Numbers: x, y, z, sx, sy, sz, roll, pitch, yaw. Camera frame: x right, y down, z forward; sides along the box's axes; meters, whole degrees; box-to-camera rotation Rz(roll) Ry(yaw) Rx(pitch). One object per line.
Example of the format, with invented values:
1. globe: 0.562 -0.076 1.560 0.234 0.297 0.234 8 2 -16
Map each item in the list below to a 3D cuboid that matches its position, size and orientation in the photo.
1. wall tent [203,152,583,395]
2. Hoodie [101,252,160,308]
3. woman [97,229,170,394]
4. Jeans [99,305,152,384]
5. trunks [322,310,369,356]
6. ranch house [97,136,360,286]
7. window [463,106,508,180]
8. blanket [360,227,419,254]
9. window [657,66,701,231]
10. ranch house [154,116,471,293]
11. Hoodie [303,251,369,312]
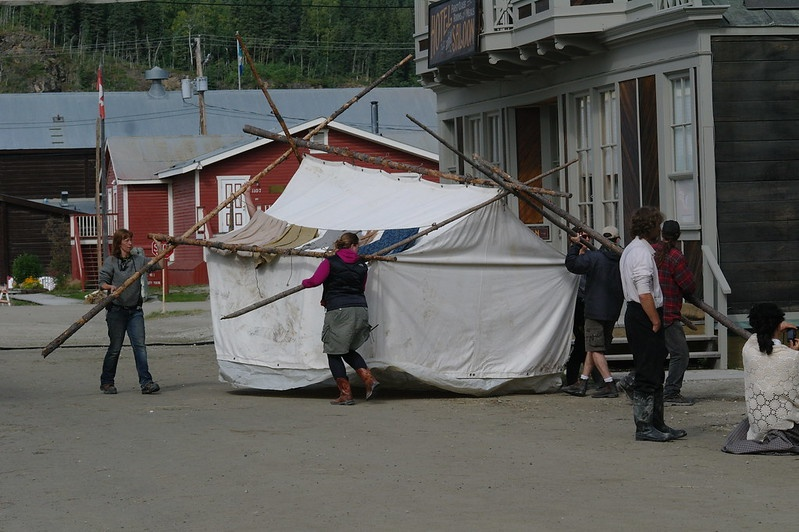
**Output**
1. wall tent: -0.042 0.446 22.668 4.006 2.955 5.053 0 0 -38
2. Hoodie: -4.509 0.210 23.084 1.019 0.898 0.500 -8 5 -22
3. woman: -4.400 0.731 22.828 1.534 2.665 1.107 0 1 23
4. Jeans: -4.525 1.301 23.048 0.827 1.378 1.075 -3 11 -11
5. trunks: -0.831 1.005 21.600 0.690 0.603 0.412 -3 13 -36
6. ranch house: -4.606 -2.331 53.592 8.092 5.664 12.091 1 0 -1
7. window: 1.888 -2.653 29.497 0.104 1.311 1.438 -10 3 25
8. blanket: -0.220 -0.512 23.223 0.722 0.154 0.467 -21 41 1
9. window: 4.907 -2.045 24.365 0.400 2.677 1.034 -4 11 -15
10. ranch house: -2.132 -1.368 31.001 5.789 2.216 5.974 -4 8 -24
11. Hoodie: -0.968 0.120 21.975 1.138 1.011 0.902 -3 5 -20
